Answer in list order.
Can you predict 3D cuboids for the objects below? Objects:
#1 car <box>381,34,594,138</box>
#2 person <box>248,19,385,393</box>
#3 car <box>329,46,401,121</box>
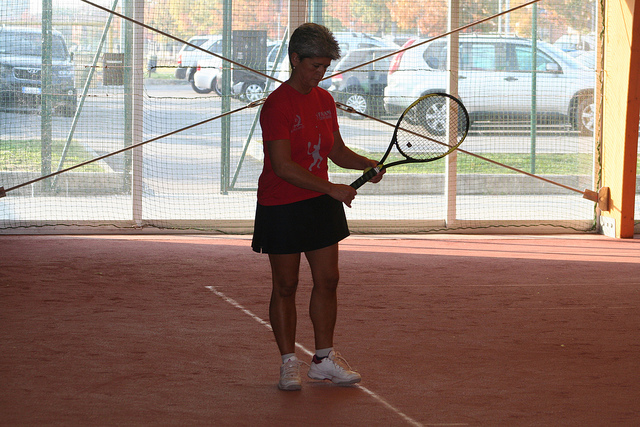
[{"bbox_3d":[2.498,-1.768,10.197,3.428,1.279,1.537,-1,7,-4],"label":"car"},{"bbox_3d":[-0.059,-0.077,5.461,0.804,2.500,0.918,2,11,3],"label":"person"},{"bbox_3d":[0.582,-1.795,10.539,0.991,0.831,1.538,1,14,11],"label":"car"}]
